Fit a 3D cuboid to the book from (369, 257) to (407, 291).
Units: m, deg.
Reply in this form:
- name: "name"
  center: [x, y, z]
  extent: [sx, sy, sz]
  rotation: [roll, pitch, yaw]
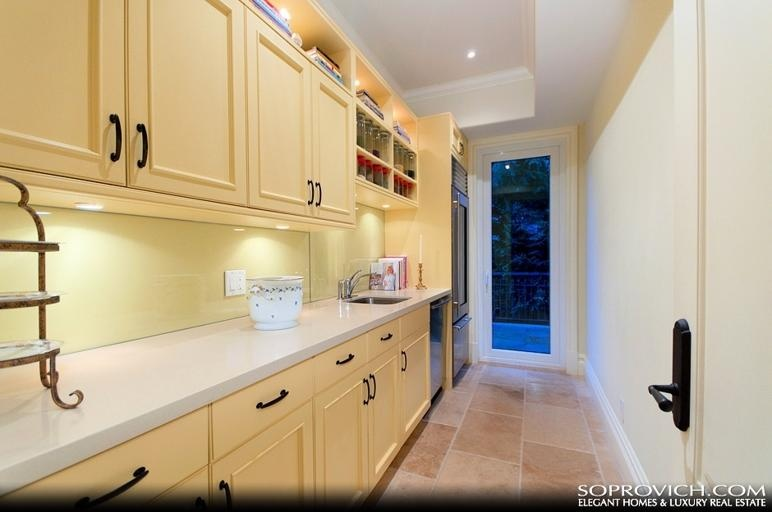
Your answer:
- name: "book"
  center: [0.031, 0.146, 3.896]
  extent: [0.225, 0.305, 0.400]
  rotation: [-1, -2, 28]

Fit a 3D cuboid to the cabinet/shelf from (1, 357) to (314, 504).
- name: "cabinet/shelf"
  center: [-0.707, 0.692, 1.756]
  extent: [1.087, 0.363, 0.123]
  rotation: [-7, 12, -38]

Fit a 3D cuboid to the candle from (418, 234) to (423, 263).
- name: "candle"
  center: [0.299, -0.069, 4.029]
  extent: [0.046, 0.233, 0.080]
  rotation: [1, 10, 4]
